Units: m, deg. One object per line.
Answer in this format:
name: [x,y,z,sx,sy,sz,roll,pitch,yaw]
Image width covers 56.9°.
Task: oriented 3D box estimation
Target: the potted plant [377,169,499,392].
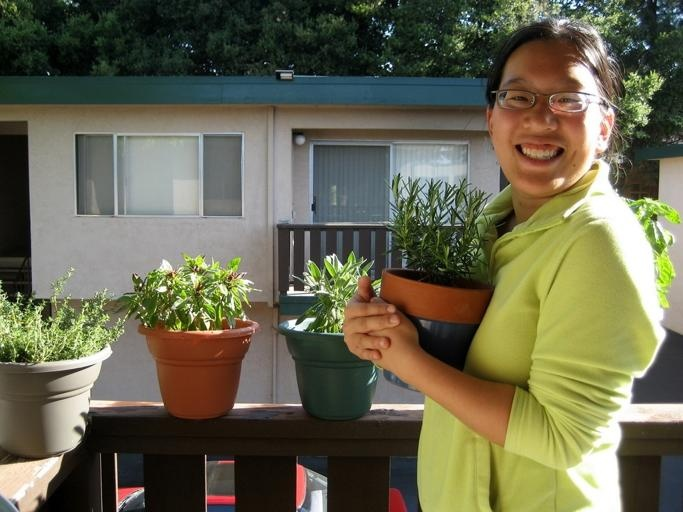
potted plant: [0.234,0.060,1.668,0.269,0.453,0.257,0,5,-31]
